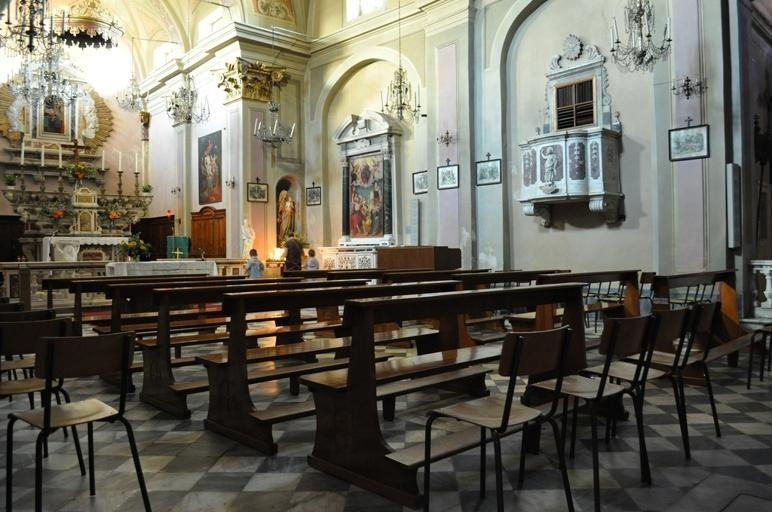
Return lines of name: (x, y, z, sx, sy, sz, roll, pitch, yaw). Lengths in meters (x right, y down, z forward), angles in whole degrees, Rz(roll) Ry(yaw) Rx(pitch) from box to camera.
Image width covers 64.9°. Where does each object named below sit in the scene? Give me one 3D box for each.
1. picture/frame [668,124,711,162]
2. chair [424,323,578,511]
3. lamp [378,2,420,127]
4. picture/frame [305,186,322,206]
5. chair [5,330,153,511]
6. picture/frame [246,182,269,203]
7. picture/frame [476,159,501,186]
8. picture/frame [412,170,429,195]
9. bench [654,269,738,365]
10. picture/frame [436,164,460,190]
picture/frame: (5.692, -2.127, 11.269, 0.103, 0.710, 0.737, 2, -3, -39)
chair: (1.191, 1.465, 5.569, 1.056, 1.636, 1.778, -2, 3, 42)
lamp: (0.343, -5.164, 15.817, 1.050, 3.553, 2.571, -4, 2, 1)
picture/frame: (-2.219, -1.907, 18.929, 0.046, 0.564, 0.633, -3, 4, -39)
chair: (-2.900, 1.518, 5.574, 1.088, 1.618, 1.433, -5, 3, -39)
picture/frame: (-3.886, -1.951, 18.282, 0.645, 0.565, 0.066, 1, -3, -43)
picture/frame: (2.471, -2.000, 14.349, 0.069, 0.574, 0.637, 2, -3, -42)
picture/frame: (0.953, -1.968, 16.034, 0.057, 0.592, 0.691, -1, 2, -36)
bench: (3.923, 0.772, 7.593, 1.263, 1.160, 0.395, -1, 3, -34)
picture/frame: (1.562, -1.959, 14.856, 0.067, 0.564, 0.633, 3, -4, -38)
